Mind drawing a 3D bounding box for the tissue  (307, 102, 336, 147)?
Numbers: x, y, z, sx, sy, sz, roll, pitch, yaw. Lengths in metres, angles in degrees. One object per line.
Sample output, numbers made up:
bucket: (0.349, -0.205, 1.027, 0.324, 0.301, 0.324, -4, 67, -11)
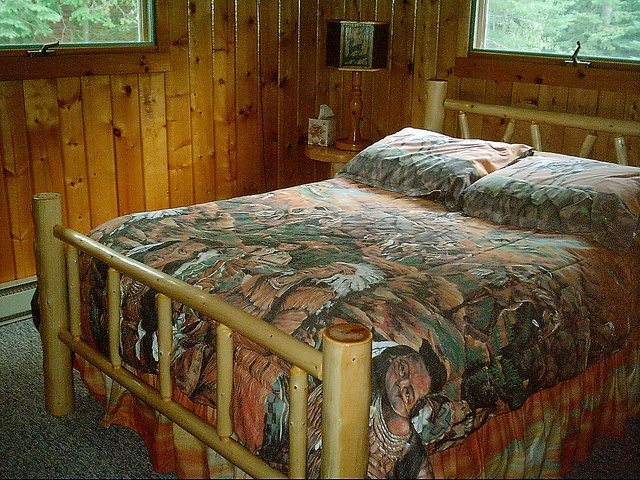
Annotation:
tissue : (0.008, -0.801, 3.592, 0.192, 0.240, 0.168, 5, 24, 9)
